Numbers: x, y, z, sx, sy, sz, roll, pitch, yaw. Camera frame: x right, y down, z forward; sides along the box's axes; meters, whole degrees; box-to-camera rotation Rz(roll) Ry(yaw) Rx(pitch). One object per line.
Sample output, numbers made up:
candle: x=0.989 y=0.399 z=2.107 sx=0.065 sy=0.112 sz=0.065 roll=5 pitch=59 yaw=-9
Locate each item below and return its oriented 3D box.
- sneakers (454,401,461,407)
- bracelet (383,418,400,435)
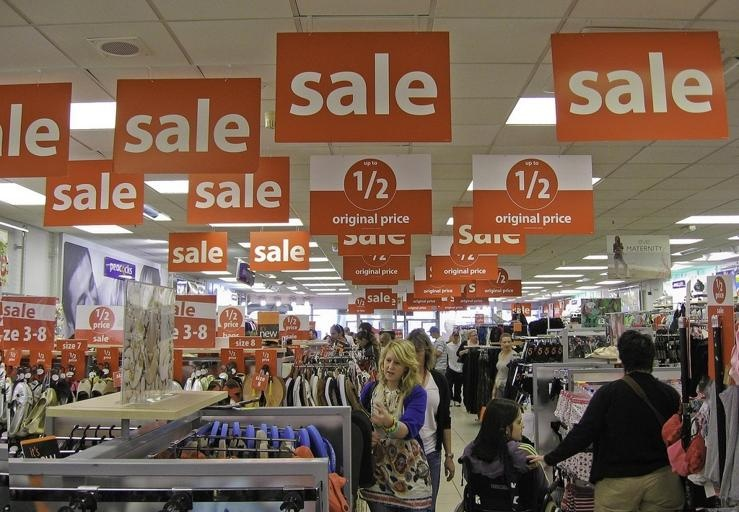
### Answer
sneakers: x=1.911 y=3.203 z=12.489 sx=0.095 sy=0.123 sz=0.298 roll=-1 pitch=-17 yaw=-2
bracelet: x=0.163 y=1.197 z=4.044 sx=0.090 sy=0.072 sz=0.112 roll=-3 pitch=-5 yaw=0
